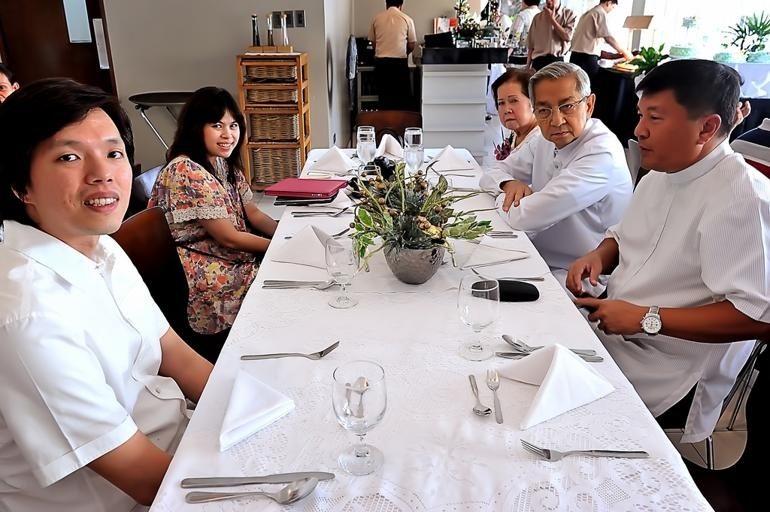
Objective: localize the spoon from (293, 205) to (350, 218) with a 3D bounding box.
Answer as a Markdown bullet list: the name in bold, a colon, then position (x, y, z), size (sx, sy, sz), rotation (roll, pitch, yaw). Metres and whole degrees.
- **spoon**: position (-0.323, -0.225, 2.553), size (0.343, 0.063, 0.047), rotation (0, 37, -5)

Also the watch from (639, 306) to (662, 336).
- **watch**: position (0.927, 0.228, 1.767), size (0.061, 0.101, 0.095), rotation (8, 15, 27)

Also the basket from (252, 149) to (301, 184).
- **basket**: position (-1.090, -0.976, 5.217), size (0.427, 0.411, 0.427), rotation (3, 17, 7)

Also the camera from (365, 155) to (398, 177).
- **camera**: position (-0.030, -0.502, 2.868), size (0.199, 0.127, 0.299), rotation (0, 15, 0)

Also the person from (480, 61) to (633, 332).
- **person**: position (0.920, -0.262, 2.781), size (0.826, 1.521, 0.703), rotation (2, 22, 0)

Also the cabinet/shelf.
- **cabinet/shelf**: position (-1.199, -1.649, 5.362), size (0.650, 0.655, 1.339), rotation (0, -11, -13)

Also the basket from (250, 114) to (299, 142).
- **basket**: position (-1.103, -1.274, 4.851), size (0.323, 0.205, 0.326), rotation (0, 17, -2)

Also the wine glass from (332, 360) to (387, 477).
- **wine glass**: position (-0.063, 0.396, 1.202), size (0.157, 0.259, 0.149), rotation (-10, 26, -19)
